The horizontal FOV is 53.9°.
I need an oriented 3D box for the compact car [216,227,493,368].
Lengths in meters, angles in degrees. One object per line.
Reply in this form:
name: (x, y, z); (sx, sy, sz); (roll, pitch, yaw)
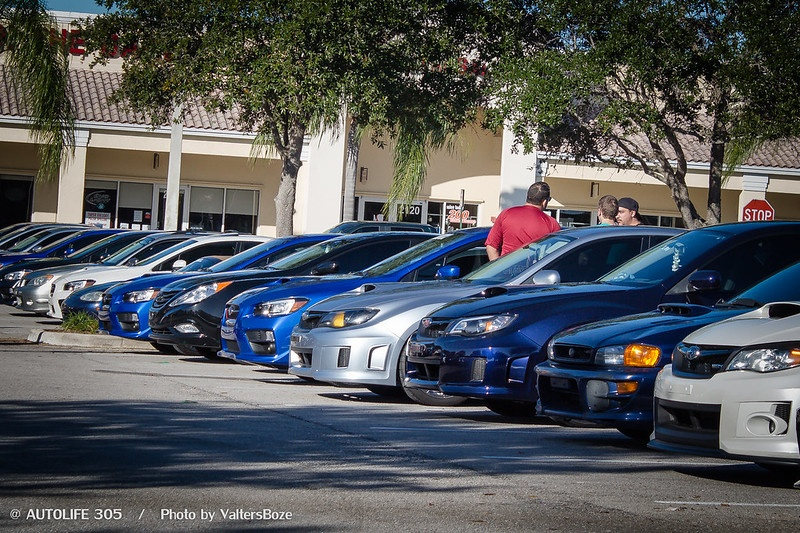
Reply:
compact car: (-0.524, 0.374, 11.400); (4.156, 1.172, 1.786); (-1, -1, -16)

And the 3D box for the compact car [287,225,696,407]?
compact car: (1.218, 0.532, 10.202); (5.189, 1.436, 2.127); (0, -1, -14)

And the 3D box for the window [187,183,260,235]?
window: (-7.816, -2.552, 34.021); (3.468, 2.238, 0.121); (1, 11, -14)

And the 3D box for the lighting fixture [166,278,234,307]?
lighting fixture: (-3.156, 0.428, 12.475); (0.914, 0.183, 0.277); (-12, 8, 0)

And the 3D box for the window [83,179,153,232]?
window: (-12.239, -2.663, 33.613); (3.317, 3.007, 0.225); (0, 1, -23)

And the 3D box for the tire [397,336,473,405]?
tire: (0.395, 1.116, 8.747); (0.946, 0.858, 0.293); (0, 11, -9)

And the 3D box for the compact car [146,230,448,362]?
compact car: (-1.726, 0.407, 13.112); (4.735, 1.453, 2.058); (-1, -1, -16)

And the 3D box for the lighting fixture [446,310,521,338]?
lighting fixture: (0.837, 0.518, 8.323); (0.835, 0.236, 0.227); (-9, -34, 32)

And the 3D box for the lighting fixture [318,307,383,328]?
lighting fixture: (-0.635, 0.620, 9.514); (0.811, 0.239, 0.193); (0, -1, 36)
